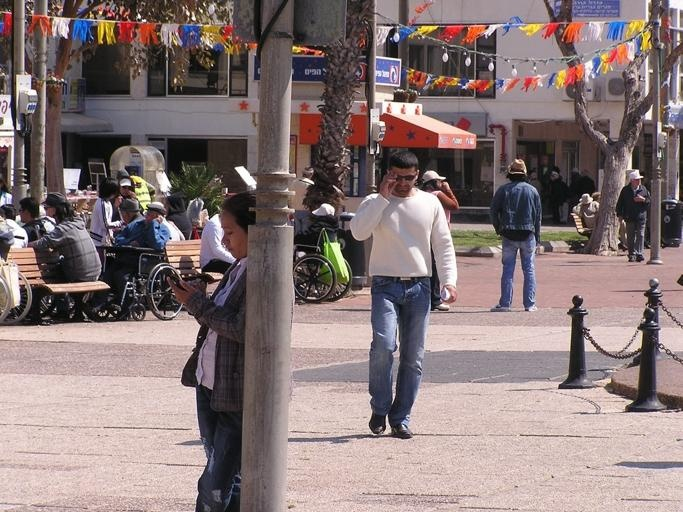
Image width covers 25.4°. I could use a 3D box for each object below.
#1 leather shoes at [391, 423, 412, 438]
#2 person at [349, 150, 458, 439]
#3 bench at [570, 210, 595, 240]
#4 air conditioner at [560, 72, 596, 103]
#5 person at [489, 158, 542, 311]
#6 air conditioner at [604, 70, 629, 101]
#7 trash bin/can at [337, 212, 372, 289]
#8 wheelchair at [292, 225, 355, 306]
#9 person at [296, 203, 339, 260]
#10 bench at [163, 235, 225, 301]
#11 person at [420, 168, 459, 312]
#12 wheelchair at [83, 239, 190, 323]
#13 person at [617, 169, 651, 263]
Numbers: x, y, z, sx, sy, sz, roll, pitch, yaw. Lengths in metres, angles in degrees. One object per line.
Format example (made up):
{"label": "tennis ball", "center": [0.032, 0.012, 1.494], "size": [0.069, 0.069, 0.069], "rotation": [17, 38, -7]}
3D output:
{"label": "leather shoes", "center": [0.687, 1.955, 16.924], "size": [0.240, 0.159, 0.162], "rotation": [0, 9, 1]}
{"label": "person", "center": [0.716, 0.425, 17.385], "size": [0.978, 3.111, 1.333], "rotation": [0, 1, 9]}
{"label": "bench", "center": [5.699, -0.679, 35.573], "size": [0.292, 0.536, 1.264], "rotation": [-1, 9, -5]}
{"label": "air conditioner", "center": [6.957, -4.819, 44.943], "size": [1.168, 0.632, 0.830], "rotation": [-8, 12, -40]}
{"label": "person", "center": [2.781, -0.287, 24.112], "size": [0.770, 2.376, 0.789], "rotation": [1, 9, 6]}
{"label": "air conditioner", "center": [8.106, -4.914, 44.825], "size": [0.522, 0.846, 0.284], "rotation": [3, 9, 18]}
{"label": "trash bin/can", "center": [0.245, -0.026, 26.296], "size": [0.484, 1.309, 0.546], "rotation": [-1, 10, -24]}
{"label": "wheelchair", "center": [-0.286, 0.244, 25.133], "size": [0.761, 1.338, 0.846], "rotation": [2, 11, -15]}
{"label": "person", "center": [-0.404, -0.426, 25.252], "size": [0.527, 0.996, 0.537], "rotation": [10, 10, 36]}
{"label": "bench", "center": [-2.305, 0.490, 23.478], "size": [0.714, 1.148, 1.638], "rotation": [0, 1, 38]}
{"label": "person", "center": [1.498, -0.249, 24.043], "size": [0.552, 2.437, 0.663], "rotation": [4, 9, -16]}
{"label": "wheelchair", "center": [-3.067, 0.284, 23.540], "size": [1.030, 1.545, 1.302], "rotation": [0, -5, 26]}
{"label": "person", "center": [6.211, -0.786, 31.864], "size": [0.551, 1.810, 0.861], "rotation": [-5, 10, -28]}
